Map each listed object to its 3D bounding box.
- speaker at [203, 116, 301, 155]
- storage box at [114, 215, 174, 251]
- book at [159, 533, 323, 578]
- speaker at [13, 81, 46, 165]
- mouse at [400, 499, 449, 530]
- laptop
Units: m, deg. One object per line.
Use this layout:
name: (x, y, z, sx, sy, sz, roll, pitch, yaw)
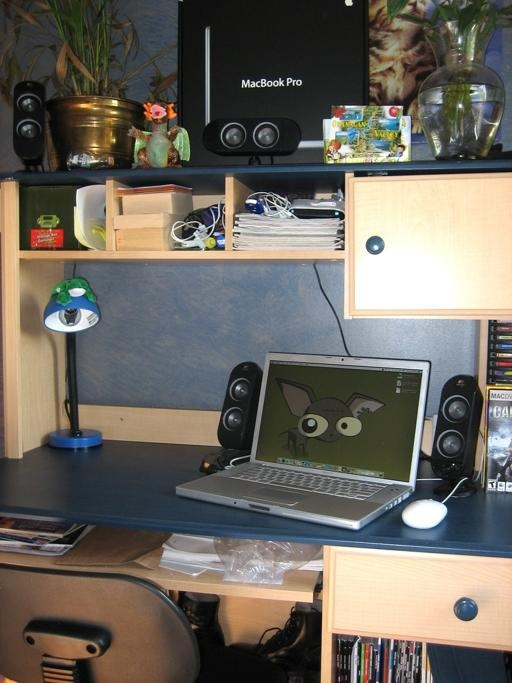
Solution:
speaker: (-0.004, -0.451, 1.371, 0.227, 0.076, 0.089, -2, 5, -5)
storage box: (-0.265, -0.248, 1.458, 0.107, 0.060, 0.105, 4, 9, 21)
book: (-0.029, 0.402, 1.176, 0.305, 0.050, 0.134, -2, 5, 5)
speaker: (-0.535, -0.508, 1.447, 0.075, 0.196, 0.070, -4, 5, -18)
mouse: (0.290, 0.299, 1.062, 0.046, 0.019, 0.062, -1, 2, 25)
laptop: (0.102, 0.187, 1.288, 0.432, 0.252, 0.390, 2, 5, 41)
